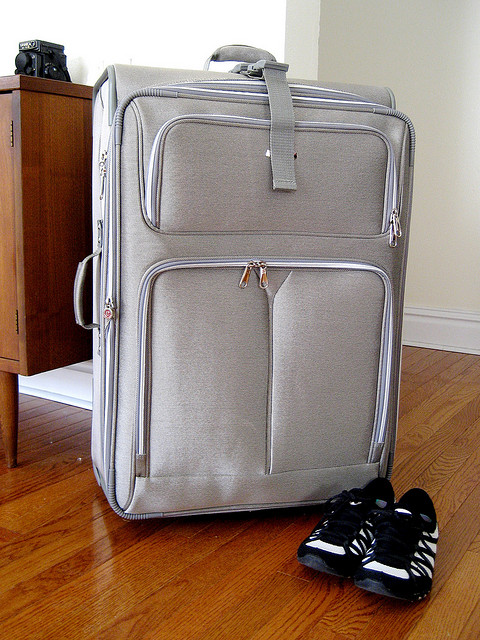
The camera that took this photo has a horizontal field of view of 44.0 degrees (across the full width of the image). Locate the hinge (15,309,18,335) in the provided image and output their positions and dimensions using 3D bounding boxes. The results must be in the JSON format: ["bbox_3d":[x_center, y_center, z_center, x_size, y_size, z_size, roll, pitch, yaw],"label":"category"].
[{"bbox_3d":[-0.385,0.003,1.016,0.006,0.042,0.002,8,10,34],"label":"hinge"}]

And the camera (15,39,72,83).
[{"bbox_3d":[-0.417,-0.542,1.255,0.086,0.078,0.114,12,19,21],"label":"camera"}]

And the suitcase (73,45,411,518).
[{"bbox_3d":[-0.019,-0.060,0.967,0.525,0.678,0.381,1,7,-16],"label":"suitcase"}]

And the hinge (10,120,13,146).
[{"bbox_3d":[-0.371,-0.301,0.957,0.005,0.039,0.001,6,10,26],"label":"hinge"}]
